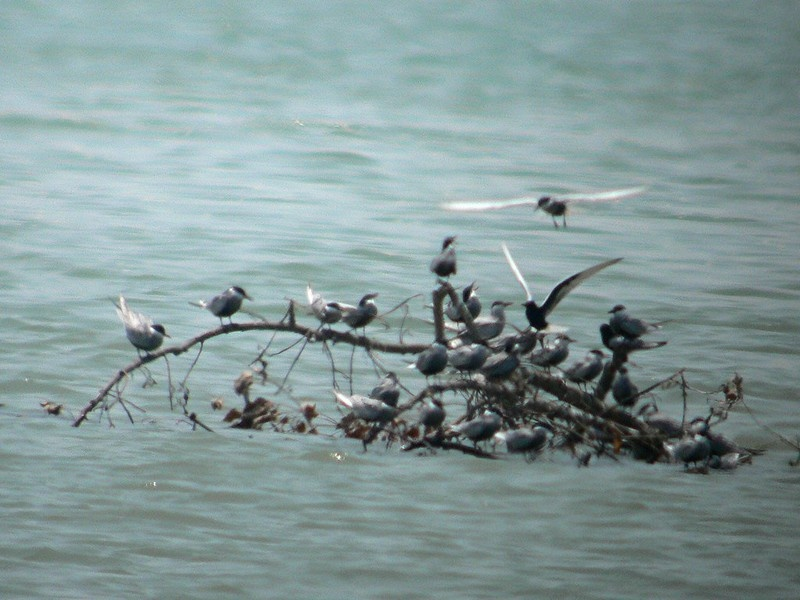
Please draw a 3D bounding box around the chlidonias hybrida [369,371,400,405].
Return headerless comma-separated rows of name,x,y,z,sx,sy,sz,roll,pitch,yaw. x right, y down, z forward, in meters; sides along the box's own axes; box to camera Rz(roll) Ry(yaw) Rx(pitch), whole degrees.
chlidonias hybrida,-0.239,1.471,25.171,0.449,0.542,0.268,-1,6,-2
